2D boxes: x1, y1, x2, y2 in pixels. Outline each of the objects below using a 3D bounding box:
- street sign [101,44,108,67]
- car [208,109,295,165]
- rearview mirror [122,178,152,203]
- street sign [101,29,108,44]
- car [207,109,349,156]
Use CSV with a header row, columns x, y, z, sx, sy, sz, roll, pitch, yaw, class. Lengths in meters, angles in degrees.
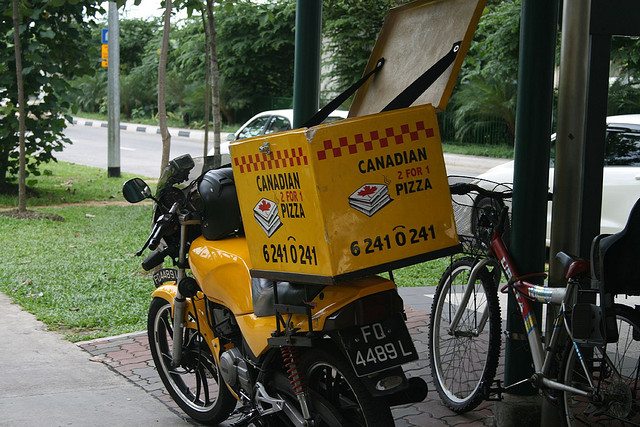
x,y,z,sx,sy,sz,roll,pitch,yaw,class
-5.228,-3.844,15.953,0.127,0.522,0.822,-3,13,-18,street sign
-1.470,-1.874,15.620,1.866,1.006,1.137,7,15,16,car
-1.345,-0.161,4.796,0.187,0.191,0.234,-5,14,-27,rearview mirror
-5.245,-4.312,15.975,0.129,0.364,0.854,-3,13,-18,street sign
-0.922,-2.011,15.950,1.520,1.309,3.755,-30,25,-36,car
